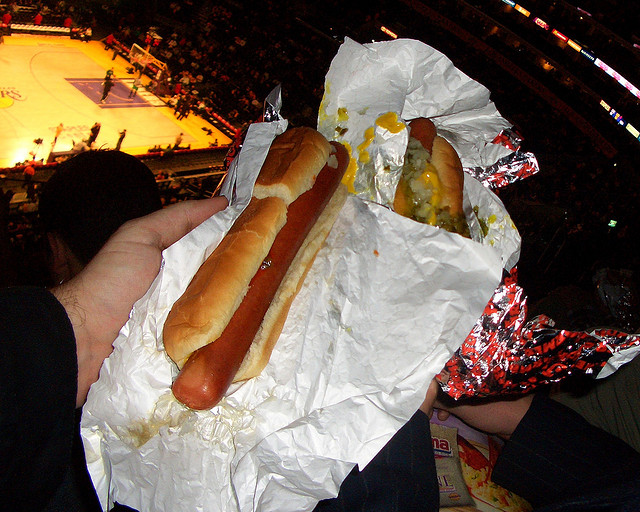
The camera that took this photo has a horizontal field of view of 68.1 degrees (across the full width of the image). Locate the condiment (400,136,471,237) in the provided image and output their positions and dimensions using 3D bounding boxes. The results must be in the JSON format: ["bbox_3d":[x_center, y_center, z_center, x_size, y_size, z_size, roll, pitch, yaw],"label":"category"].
[{"bbox_3d":[0.562,-0.299,2.350,0.263,0.155,0.543,-10,74,-6],"label":"condiment"}]
